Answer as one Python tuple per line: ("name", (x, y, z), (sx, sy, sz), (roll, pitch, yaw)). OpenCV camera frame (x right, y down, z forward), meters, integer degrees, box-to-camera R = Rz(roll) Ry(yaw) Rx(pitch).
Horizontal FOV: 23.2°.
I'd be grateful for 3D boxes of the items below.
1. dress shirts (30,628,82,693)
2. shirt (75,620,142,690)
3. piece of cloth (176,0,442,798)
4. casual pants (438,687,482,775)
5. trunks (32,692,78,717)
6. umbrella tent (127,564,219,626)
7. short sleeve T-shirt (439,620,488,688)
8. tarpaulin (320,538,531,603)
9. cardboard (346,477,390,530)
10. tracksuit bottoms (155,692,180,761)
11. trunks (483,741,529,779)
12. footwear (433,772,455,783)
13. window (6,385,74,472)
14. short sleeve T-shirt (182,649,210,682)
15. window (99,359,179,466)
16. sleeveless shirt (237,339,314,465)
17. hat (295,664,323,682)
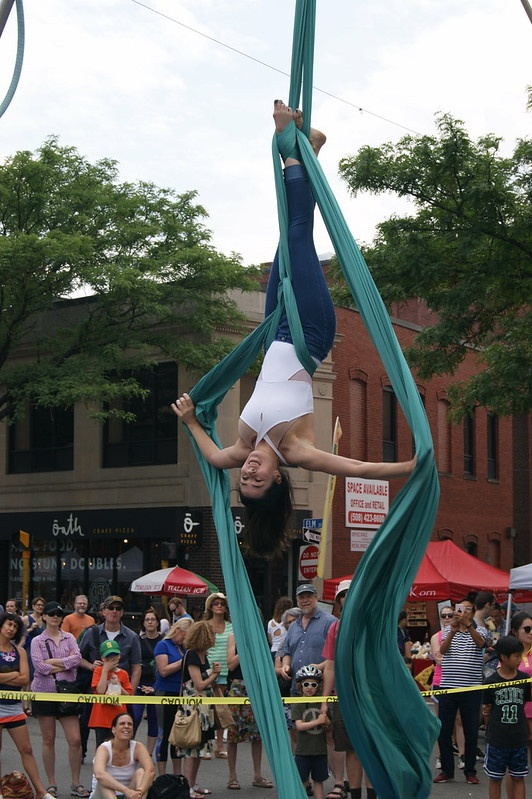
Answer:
("dress shirts", (-2.145, 2.659, 13.190), (0.491, 0.566, 0.364), (-1, 2, -30))
("shirt", (-1.613, 2.666, 13.261), (0.459, 0.651, 0.856), (12, -5, -39))
("piece of cloth", (0.546, -0.036, 8.368), (1.832, 4.251, 0.783), (9, -3, 15))
("casual pants", (2.010, 3.502, 13.581), (0.493, 0.749, 0.574), (9, -3, 11))
("trunks", (-2.031, 3.052, 12.615), (0.431, 0.255, 0.221), (4, -24, -11))
("umbrella tent", (-1.555, 3.255, 21.712), (1.215, 0.749, 1.092), (3, -10, -8))
("short sleeve T-shirt", (2.131, 2.818, 13.950), (0.475, 0.686, 0.417), (2, -8, 16))
("tarpaulin", (3.325, 2.818, 20.852), (2.360, 0.816, 2.459), (-8, -9, 37))
("cardboard", (2.436, 2.470, 30.823), (0.032, 1.173, 1.727), (-8, -11, 39))
("tracksuit bottoms", (-1.028, 3.334, 13.227), (0.228, 0.679, 0.166), (24, -43, -34))
("trunks", (2.026, 3.050, 10.900), (0.342, 0.245, 0.235), (9, -3, -1))
("footwear", (1.830, 3.950, 13.546), (0.286, 0.107, 0.093), (12, -32, -28))
("window", (-5.115, 0.678, 29.910), (2.141, 1.942, 0.096), (-9, -14, 42))
("short sleeve T-shirt", (-0.652, 2.572, 12.888), (0.294, 0.457, 0.513), (-1, -12, 2))
("window", (-2.653, 0.247, 28.212), (2.422, 2.444, 0.111), (-8, -13, 40))
("sleeveless shirt", (0.080, 0.012, 8.095), (0.431, 0.672, 0.252), (7, -4, 37))
("hat", (0.414, 2.495, 11.816), (0.233, 0.098, 0.306), (2, -11, 1))
